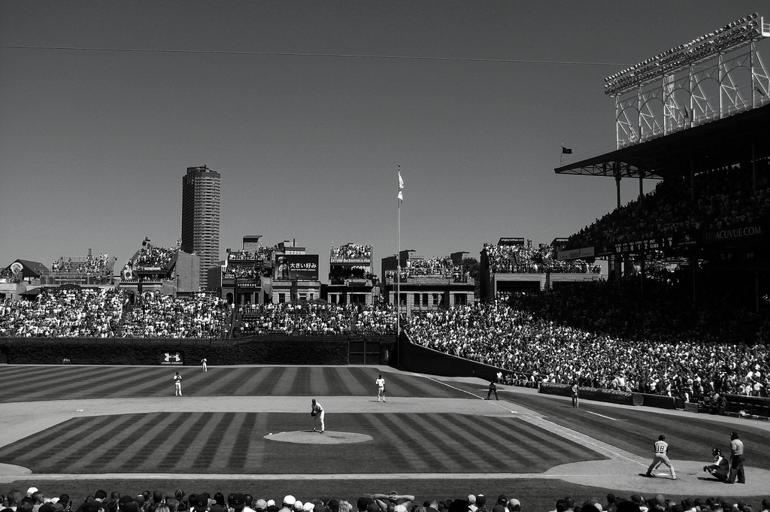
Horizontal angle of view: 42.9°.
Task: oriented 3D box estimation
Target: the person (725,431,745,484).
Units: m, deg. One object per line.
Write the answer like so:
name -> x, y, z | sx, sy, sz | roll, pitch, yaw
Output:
person -> 21.000, 12.235, 59.157 | 1.293, 3.003, 1.101 | -1, 0, -35
